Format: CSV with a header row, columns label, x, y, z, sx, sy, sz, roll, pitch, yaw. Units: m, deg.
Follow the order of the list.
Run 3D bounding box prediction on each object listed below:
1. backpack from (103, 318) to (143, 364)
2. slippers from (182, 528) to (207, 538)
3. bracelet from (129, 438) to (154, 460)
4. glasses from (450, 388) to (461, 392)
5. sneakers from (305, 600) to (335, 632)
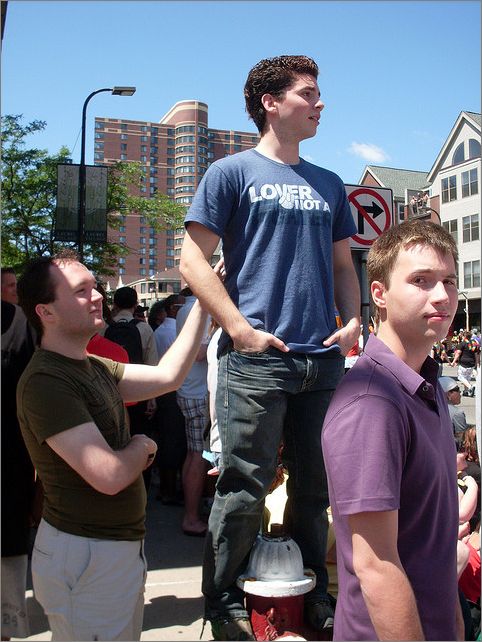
label,x,y,z,sx,sy,sz,roll,pitch,yaw
backpack,-0.850,0.145,4.755,0.309,0.469,0.256,0,-34,-6
slippers,-0.339,1.589,4.883,0.225,0.087,0.079,-1,-6,8
bracelet,-0.341,0.426,2.234,0.042,0.097,0.058,-30,-49,8
glasses,2.660,0.856,8.097,0.169,0.046,0.137,-10,-10,38
sneakers,0.328,1.222,2.736,0.106,0.066,0.185,6,-9,0
